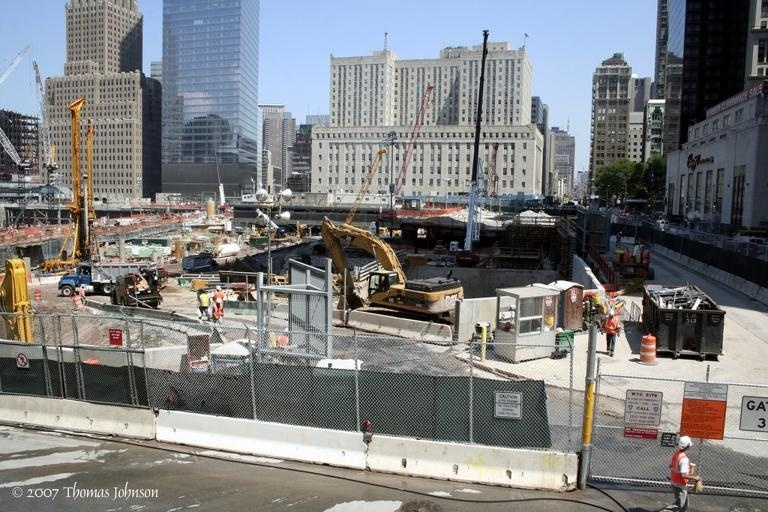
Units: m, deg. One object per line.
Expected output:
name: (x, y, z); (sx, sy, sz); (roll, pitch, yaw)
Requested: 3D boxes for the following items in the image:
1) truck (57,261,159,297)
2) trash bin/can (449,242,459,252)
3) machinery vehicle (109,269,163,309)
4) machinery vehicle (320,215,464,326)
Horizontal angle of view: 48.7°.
truck: (-21.125, 1.623, 63.722); (6.015, 3.061, 2.850); (0, 0, 1)
trash bin/can: (7.021, -0.966, 86.250); (0.848, 1.252, 1.624); (2, 5, 9)
machinery vehicle: (-16.187, 2.359, 55.801); (2.900, 2.487, 2.050); (-14, 19, -38)
machinery vehicle: (-0.078, 0.829, 53.410); (9.540, 5.688, 3.096); (8, 11, 36)
